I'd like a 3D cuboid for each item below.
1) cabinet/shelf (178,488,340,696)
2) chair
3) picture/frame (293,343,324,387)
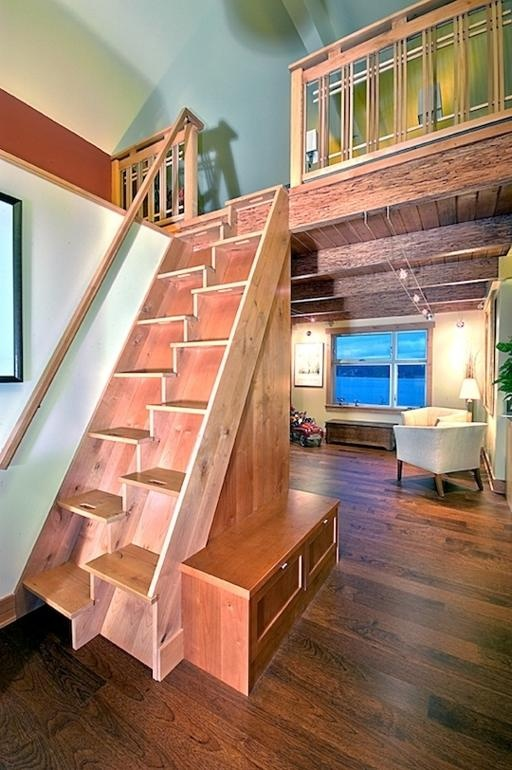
[{"bbox_3d":[0.093,0.982,2.702,0.357,0.492,1.156,4,9,27],"label":"cabinet/shelf"},{"bbox_3d":[1.698,0.585,4.908,0.839,0.961,0.821,6,-7,-37],"label":"chair"},{"bbox_3d":[0.848,-0.332,8.153,0.635,0.952,0.033,-1,-3,40],"label":"picture/frame"}]
